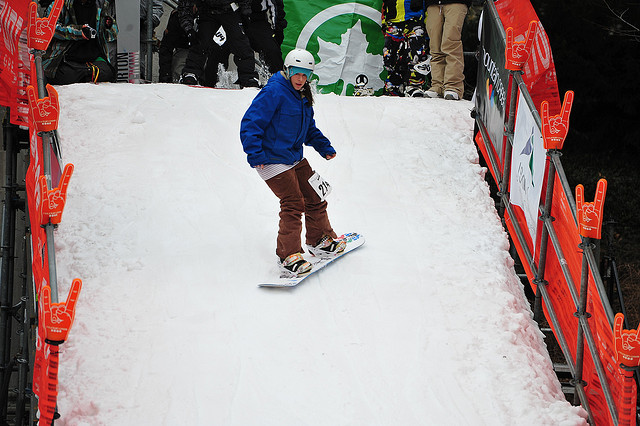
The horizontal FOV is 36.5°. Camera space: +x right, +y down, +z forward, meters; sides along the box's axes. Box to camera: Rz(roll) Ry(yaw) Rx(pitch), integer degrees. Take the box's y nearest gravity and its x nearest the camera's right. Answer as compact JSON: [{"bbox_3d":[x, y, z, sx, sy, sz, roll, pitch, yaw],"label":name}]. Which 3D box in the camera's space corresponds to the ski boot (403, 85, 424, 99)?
[{"bbox_3d":[1.202,-1.543,12.282,0.194,0.098,0.240,6,22,1],"label":"ski boot"}]

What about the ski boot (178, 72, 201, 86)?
[{"bbox_3d":[-1.608,-1.684,12.205,0.260,0.185,0.369,6,23,-8],"label":"ski boot"}]

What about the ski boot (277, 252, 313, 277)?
[{"bbox_3d":[-0.242,0.517,9.946,0.310,0.163,0.200,5,22,21],"label":"ski boot"}]

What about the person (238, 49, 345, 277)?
[{"bbox_3d":[-0.181,-0.544,9.984,1.139,2.160,0.853,19,24,22],"label":"person"}]

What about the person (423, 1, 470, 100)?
[{"bbox_3d":[1.560,-2.023,11.915,0.355,1.197,0.705,-4,26,-31],"label":"person"}]

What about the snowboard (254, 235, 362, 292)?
[{"bbox_3d":[-0.088,0.554,10.027,0.418,0.192,1.344,33,50,27],"label":"snowboard"}]

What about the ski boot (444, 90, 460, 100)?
[{"bbox_3d":[1.618,-1.448,11.873,0.187,0.112,0.096,11,22,3],"label":"ski boot"}]
